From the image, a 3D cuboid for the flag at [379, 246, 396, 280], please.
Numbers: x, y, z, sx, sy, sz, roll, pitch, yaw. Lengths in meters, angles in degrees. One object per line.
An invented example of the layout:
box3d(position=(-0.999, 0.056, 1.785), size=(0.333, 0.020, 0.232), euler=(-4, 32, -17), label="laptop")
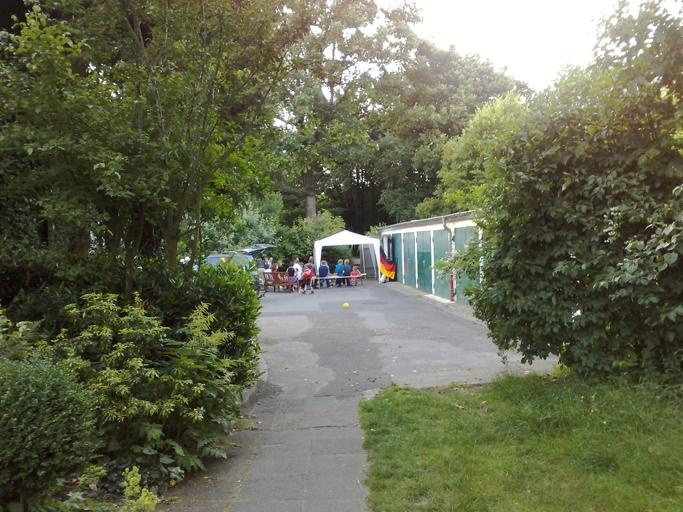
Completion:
box3d(position=(2.757, 0.556, 32.780), size=(1.008, 1.772, 0.527), euler=(0, 6, 25), label="flag")
